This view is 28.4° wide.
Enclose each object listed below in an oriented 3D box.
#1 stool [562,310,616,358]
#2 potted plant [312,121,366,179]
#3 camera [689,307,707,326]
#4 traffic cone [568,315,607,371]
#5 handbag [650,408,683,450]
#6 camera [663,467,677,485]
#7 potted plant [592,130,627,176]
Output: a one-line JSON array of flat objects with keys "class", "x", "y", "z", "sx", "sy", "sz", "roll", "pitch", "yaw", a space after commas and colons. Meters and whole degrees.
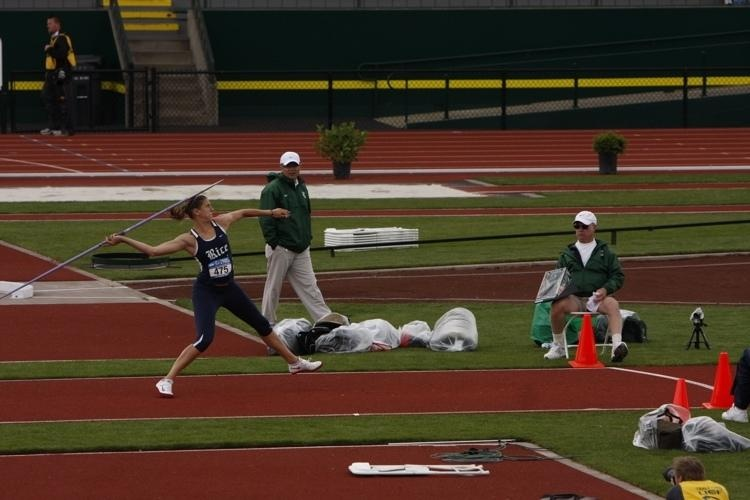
[{"class": "stool", "x": 3.912, "y": 1.622, "z": 27.765, "sx": 0.690, "sy": 0.766, "sz": 1.065, "roll": -1, "pitch": -2, "yaw": 26}, {"class": "potted plant", "x": -1.095, "y": -3.060, "z": 45.552, "sx": 2.518, "sy": 1.773, "sz": 1.865, "roll": 0, "pitch": 1, "yaw": -6}, {"class": "camera", "x": 6.215, "y": 1.266, "z": 28.228, "sx": 0.357, "sy": 0.309, "sz": 0.346, "roll": 5, "pitch": 16, "yaw": 11}, {"class": "traffic cone", "x": 3.915, "y": 1.631, "z": 27.111, "sx": 0.628, "sy": 0.932, "sz": 0.728, "roll": 2, "pitch": 8, "yaw": 7}, {"class": "handbag", "x": 4.815, "y": 2.873, "z": 23.990, "sx": 0.438, "sy": 0.657, "sz": 0.327, "roll": 2, "pitch": 8, "yaw": 9}, {"class": "camera", "x": 4.529, "y": 3.441, "z": 22.529, "sx": 0.254, "sy": 0.245, "sz": 0.275, "roll": 1, "pitch": 24, "yaw": 1}, {"class": "potted plant", "x": 7.320, "y": -3.022, "z": 45.947, "sx": 0.937, "sy": 1.290, "sz": 1.263, "roll": 2, "pitch": 7, "yaw": 10}]
